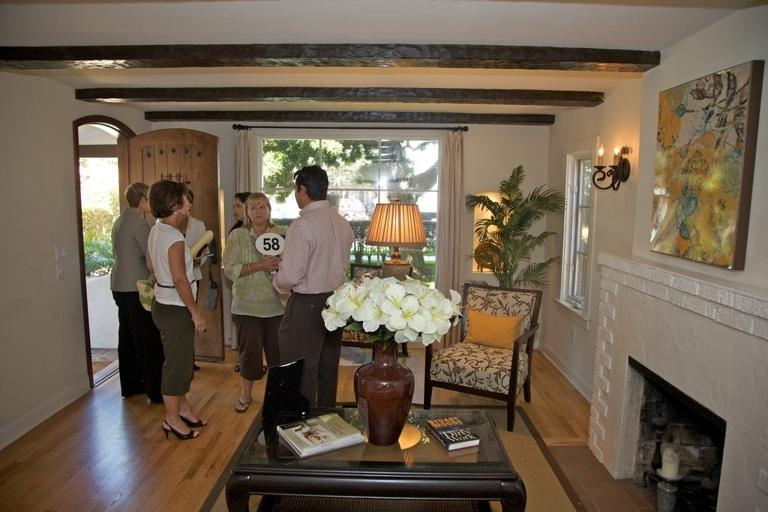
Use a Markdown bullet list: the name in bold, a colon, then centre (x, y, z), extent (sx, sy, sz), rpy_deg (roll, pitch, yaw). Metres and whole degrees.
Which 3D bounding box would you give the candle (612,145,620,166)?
- **candle**: centre (2.402, -1.034, 5.169), extent (0.052, 0.174, 0.171), rpy_deg (7, 15, 20)

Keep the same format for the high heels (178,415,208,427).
- **high heels**: centre (-1.864, 1.628, 4.953), extent (0.321, 0.133, 0.096), rpy_deg (1, -2, -7)

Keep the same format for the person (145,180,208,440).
- **person**: centre (-1.884, 0.541, 4.509), extent (0.411, 2.397, 0.492), rpy_deg (-7, 17, -27)

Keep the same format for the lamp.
- **lamp**: centre (0.130, -0.176, 5.860), extent (0.696, 0.868, 0.358), rpy_deg (2, 15, 3)

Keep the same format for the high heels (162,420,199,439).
- **high heels**: centre (-1.925, 1.642, 4.790), extent (0.413, 0.205, 0.139), rpy_deg (1, 1, -6)

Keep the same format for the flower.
- **flower**: centre (0.088, 0.368, 3.280), extent (0.584, 0.235, 0.561), rpy_deg (-9, 21, -35)

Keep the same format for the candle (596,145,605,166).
- **candle**: centre (2.384, -1.114, 5.502), extent (0.096, 0.222, 0.236), rpy_deg (7, 16, 22)
